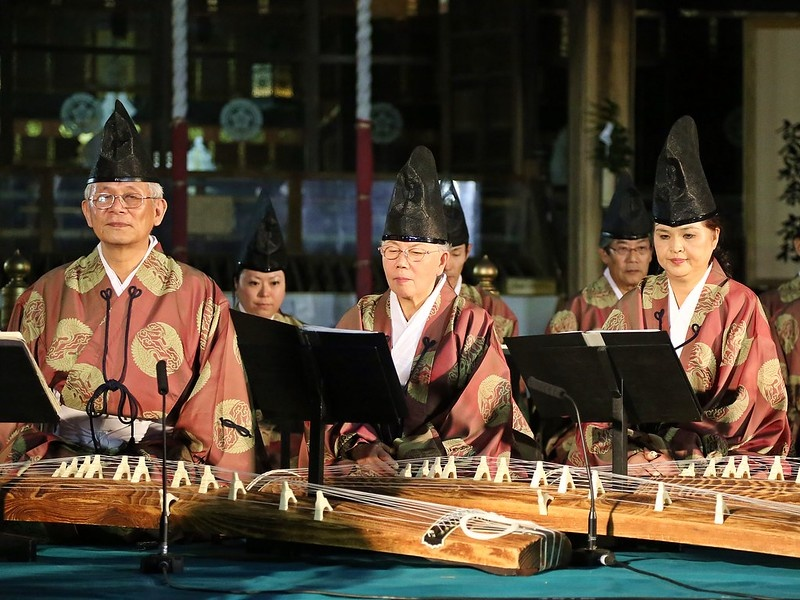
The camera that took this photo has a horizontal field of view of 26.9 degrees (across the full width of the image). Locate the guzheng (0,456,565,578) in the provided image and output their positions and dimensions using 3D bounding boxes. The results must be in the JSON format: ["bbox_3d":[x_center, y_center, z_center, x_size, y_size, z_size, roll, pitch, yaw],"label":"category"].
[{"bbox_3d":[-0.572,1.042,7.837,3.507,0.352,0.538,1,2,11],"label":"guzheng"}]

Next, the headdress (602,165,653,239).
[{"bbox_3d":[1.439,-0.574,10.476,0.364,0.379,0.371,0,12,14],"label":"headdress"}]

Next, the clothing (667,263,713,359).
[{"bbox_3d":[1.560,0.066,8.971,0.212,0.586,0.101,10,3,35],"label":"clothing"}]

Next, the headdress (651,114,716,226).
[{"bbox_3d":[1.505,-0.676,8.800,0.326,0.584,0.188,0,2,7],"label":"headdress"}]

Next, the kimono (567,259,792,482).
[{"bbox_3d":[1.467,0.411,8.611,1.140,0.910,0.574,-3,-14,28],"label":"kimono"}]

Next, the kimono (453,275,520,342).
[{"bbox_3d":[0.631,0.058,10.962,0.254,0.440,0.341,-22,2,-41],"label":"kimono"}]

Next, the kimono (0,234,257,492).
[{"bbox_3d":[-1.348,0.370,8.433,1.442,1.069,0.515,1,-16,-2],"label":"kimono"}]

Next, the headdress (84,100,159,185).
[{"bbox_3d":[-1.377,-0.802,8.609,0.423,0.412,0.408,-1,-9,-10],"label":"headdress"}]
